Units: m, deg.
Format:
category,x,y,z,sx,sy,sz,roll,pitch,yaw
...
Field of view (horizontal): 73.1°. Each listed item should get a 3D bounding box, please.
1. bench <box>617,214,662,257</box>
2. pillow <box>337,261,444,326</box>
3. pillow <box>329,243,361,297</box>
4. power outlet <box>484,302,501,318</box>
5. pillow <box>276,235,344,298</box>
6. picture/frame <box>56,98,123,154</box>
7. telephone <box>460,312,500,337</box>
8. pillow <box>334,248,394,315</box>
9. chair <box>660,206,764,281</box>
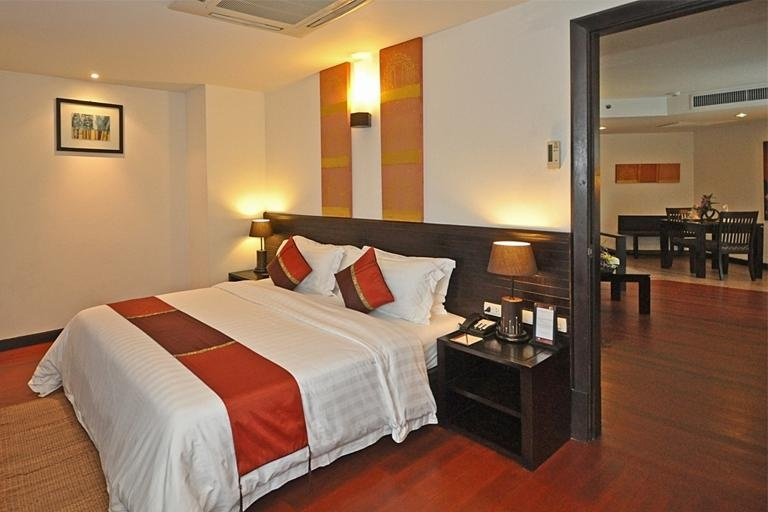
category,x,y,z,sx,sy,sz,roll,pitch,yaw
bench,5.328,-0.454,10.762,1.056,0.679,0.380,-1,6,-11
pillow,0.235,0.332,4.959,0.626,0.608,0.185,1,-19,31
pillow,-0.433,0.145,5.738,0.146,0.461,0.482,14,10,-26
power outlet,1.009,0.492,4.845,0.115,0.135,0.212,1,0,-39
pillow,-0.787,0.120,5.624,0.661,0.621,0.160,10,-12,36
picture/frame,-3.681,-1.621,6.379,0.754,0.617,0.052,-4,10,-42
telephone,0.862,0.623,4.675,0.220,0.094,0.242,-17,16,-40
pillow,-0.221,0.256,5.062,0.647,0.551,0.205,-33,-20,19
chair,5.613,-0.180,9.145,0.990,1.173,1.616,0,-1,-10
